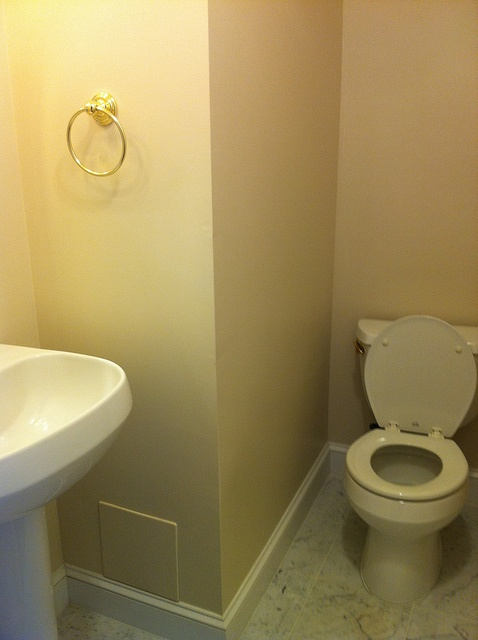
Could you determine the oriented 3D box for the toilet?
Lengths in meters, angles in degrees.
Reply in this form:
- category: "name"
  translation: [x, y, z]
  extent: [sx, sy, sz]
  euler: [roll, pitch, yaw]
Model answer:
- category: "toilet"
  translation: [0.509, 0.414, 1.516]
  extent: [0.350, 0.798, 0.445]
  euler: [5, 12, 26]
